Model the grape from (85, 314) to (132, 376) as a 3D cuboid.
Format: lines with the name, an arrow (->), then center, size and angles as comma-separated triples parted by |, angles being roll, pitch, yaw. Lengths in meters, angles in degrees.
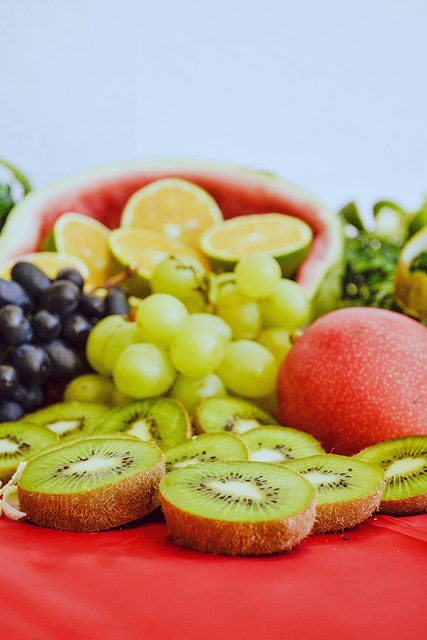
grape -> -0.128, 0.032, 0.808 | 0.056, 0.060, 0.050 | -16, 48, 3

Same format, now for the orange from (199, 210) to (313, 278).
orange -> 0.058, -0.106, 0.899 | 0.153, 0.082, 0.077 | 3, 21, -3

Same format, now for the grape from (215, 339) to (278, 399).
grape -> 0.046, 0.062, 0.818 | 0.084, 0.054, 0.060 | 9, -10, 25

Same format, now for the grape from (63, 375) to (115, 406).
grape -> -0.156, 0.087, 0.836 | 0.056, 0.037, 0.038 | -5, 44, -1

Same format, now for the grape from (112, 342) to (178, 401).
grape -> -0.081, 0.063, 0.815 | 0.087, 0.064, 0.065 | -8, -1, -5

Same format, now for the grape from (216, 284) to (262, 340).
grape -> 0.033, -0.010, 0.849 | 0.060, 0.064, 0.042 | -11, 0, -1

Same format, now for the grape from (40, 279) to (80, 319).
grape -> -0.187, -0.026, 0.810 | 0.043, 0.048, 0.027 | -32, -8, 0

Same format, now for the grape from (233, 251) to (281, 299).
grape -> 0.048, -0.052, 0.831 | 0.065, 0.060, 0.058 | 1, -15, -12

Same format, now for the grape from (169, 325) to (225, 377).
grape -> -0.026, 0.034, 0.778 | 0.062, 0.055, 0.067 | 4, 11, 31

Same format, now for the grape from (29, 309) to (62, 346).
grape -> -0.204, 0.007, 0.805 | 0.044, 0.046, 0.045 | 2, -6, -11

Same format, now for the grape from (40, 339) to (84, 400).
grape -> -0.191, 0.064, 0.829 | 0.052, 0.075, 0.046 | 5, 7, -14

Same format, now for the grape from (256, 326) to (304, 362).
grape -> 0.082, 0.026, 0.841 | 0.045, 0.031, 0.051 | -36, 30, 6

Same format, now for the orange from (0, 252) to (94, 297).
orange -> -0.212, -0.074, 0.864 | 0.090, 0.032, 0.073 | 27, 46, 12

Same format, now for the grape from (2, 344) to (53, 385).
grape -> -0.221, 0.051, 0.802 | 0.063, 0.039, 0.042 | -3, -2, 3

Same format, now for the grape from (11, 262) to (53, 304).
grape -> -0.227, -0.049, 0.823 | 0.034, 0.030, 0.069 | -21, 43, -29

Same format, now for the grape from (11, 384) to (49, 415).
grape -> -0.228, 0.100, 0.831 | 0.049, 0.020, 0.032 | 8, 59, 15

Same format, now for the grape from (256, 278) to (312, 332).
grape -> 0.094, -0.017, 0.884 | 0.081, 0.056, 0.054 | -22, 29, 17
